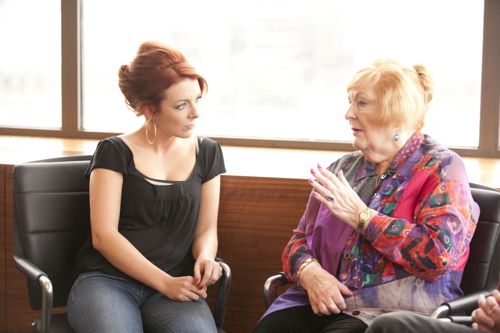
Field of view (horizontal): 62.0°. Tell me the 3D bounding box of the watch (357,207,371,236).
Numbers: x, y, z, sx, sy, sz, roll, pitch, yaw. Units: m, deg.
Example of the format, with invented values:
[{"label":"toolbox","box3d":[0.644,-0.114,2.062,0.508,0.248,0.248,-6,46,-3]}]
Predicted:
[{"label":"watch","box3d":[0.443,0.211,1.639,0.050,0.084,0.088,20,55,23]}]
